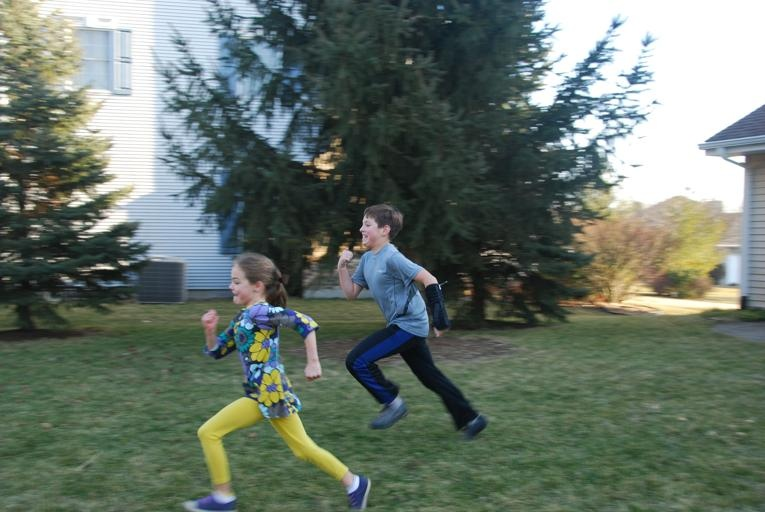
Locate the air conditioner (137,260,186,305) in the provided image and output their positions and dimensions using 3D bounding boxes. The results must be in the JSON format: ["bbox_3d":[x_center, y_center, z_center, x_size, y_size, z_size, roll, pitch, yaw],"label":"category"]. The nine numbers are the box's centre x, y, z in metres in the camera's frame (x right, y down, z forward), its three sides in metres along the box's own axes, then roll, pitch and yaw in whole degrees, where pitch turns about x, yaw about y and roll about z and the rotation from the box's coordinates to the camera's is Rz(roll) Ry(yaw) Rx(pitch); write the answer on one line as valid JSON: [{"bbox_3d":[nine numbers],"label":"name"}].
[{"bbox_3d":[-5.855,0.719,17.527,1.009,1.136,1.044,-1,13,-8],"label":"air conditioner"}]
